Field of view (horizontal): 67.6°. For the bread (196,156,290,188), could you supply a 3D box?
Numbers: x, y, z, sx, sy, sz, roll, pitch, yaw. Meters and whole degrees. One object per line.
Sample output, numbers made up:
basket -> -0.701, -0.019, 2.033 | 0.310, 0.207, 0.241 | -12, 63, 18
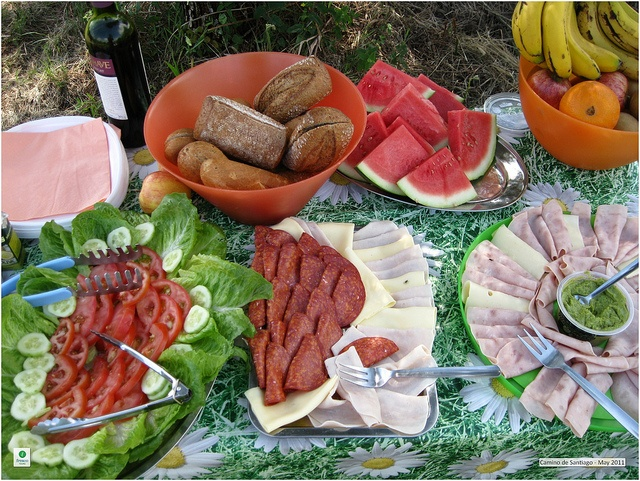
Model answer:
bread -> -0.274, -0.222, 1.756 | 0.329, 0.122, 0.134 | -1, 46, -6

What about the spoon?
spoon -> 0.994, 0.159, 1.671 | 0.034, 0.238, 0.050 | 25, 45, -15

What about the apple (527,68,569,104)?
apple -> 1.002, -0.663, 2.083 | 0.093, 0.132, 0.101 | 26, 54, 2

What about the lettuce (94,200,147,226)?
lettuce -> -0.758, -0.074, 1.798 | 0.101, 0.150, 0.031 | 28, 90, 37

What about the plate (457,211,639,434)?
plate -> 0.707, 0.252, 1.784 | 0.540, 0.088, 0.646 | 22, 56, -7

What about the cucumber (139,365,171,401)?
cucumber -> -0.515, 0.444, 1.483 | 0.080, 0.021, 0.084 | -19, 57, -6

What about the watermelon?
watermelon -> 0.479, -0.315, 2.425 | 0.747, 0.334, 0.711 | 38, 65, 13

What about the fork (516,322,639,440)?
fork -> 0.868, 0.484, 1.601 | 0.059, 0.053, 0.474 | -28, 62, -2

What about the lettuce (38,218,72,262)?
lettuce -> -0.959, 0.006, 1.751 | 0.128, 0.064, 0.147 | -13, 64, -1

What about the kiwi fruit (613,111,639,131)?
kiwi fruit -> 1.311, -0.490, 2.031 | 0.068, 0.056, 0.100 | -14, 47, -9

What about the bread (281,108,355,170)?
bread -> -0.006, -0.376, 1.873 | 0.268, 0.204, 0.134 | -29, 54, -28

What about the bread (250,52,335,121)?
bread -> -0.101, -0.591, 1.882 | 0.298, 0.089, 0.199 | -36, 78, 5

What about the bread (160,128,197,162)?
bread -> -0.550, -0.375, 1.904 | 0.103, 0.068, 0.130 | 18, 62, 43

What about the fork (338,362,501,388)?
fork -> 0.312, 0.444, 1.570 | 0.443, 0.073, 0.071 | 2, 31, 8

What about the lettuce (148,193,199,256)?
lettuce -> -0.541, -0.057, 1.775 | 0.162, 0.068, 0.240 | 2, 75, 5

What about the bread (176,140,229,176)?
bread -> -0.450, -0.286, 1.798 | 0.140, 0.089, 0.124 | 14, 41, 9
